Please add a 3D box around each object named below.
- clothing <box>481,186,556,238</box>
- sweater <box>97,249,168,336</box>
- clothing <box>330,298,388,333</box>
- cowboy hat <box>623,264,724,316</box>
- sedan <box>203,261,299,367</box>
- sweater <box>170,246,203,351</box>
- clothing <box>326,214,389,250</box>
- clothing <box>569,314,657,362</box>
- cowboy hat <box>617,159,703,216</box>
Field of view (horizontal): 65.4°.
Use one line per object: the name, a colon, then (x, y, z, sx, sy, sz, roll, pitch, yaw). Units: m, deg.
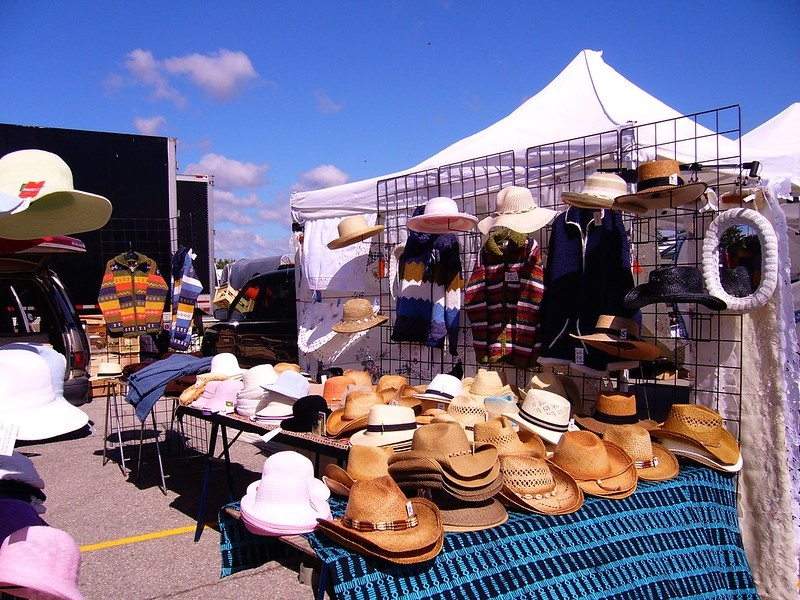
clothing: (0.965, -0.634, 5.149, 0.449, 0.230, 0.465, -11, 25, 26)
sweater: (-3.451, -0.090, 8.070, 0.764, 1.047, 0.279, -2, 5, -28)
clothing: (-0.350, 0.082, 5.896, 0.390, 0.212, 0.372, -11, 1, -41)
cowboy hat: (1.891, -0.099, 4.292, 0.665, 0.294, 0.576, 4, 9, 26)
sedan: (-2.001, 0.298, 9.394, 1.715, 1.083, 1.093, 1, -3, 29)
sweater: (-2.754, -0.023, 8.001, 0.377, 1.289, 0.520, -1, 5, -20)
clothing: (-0.495, -0.700, 6.525, 0.394, 0.176, 0.438, -18, -12, -26)
clothing: (1.571, 0.285, 4.488, 0.431, 0.149, 0.392, 31, -20, -26)
cowboy hat: (1.827, -0.820, 4.431, 0.586, 0.318, 0.509, 2, 5, 15)
